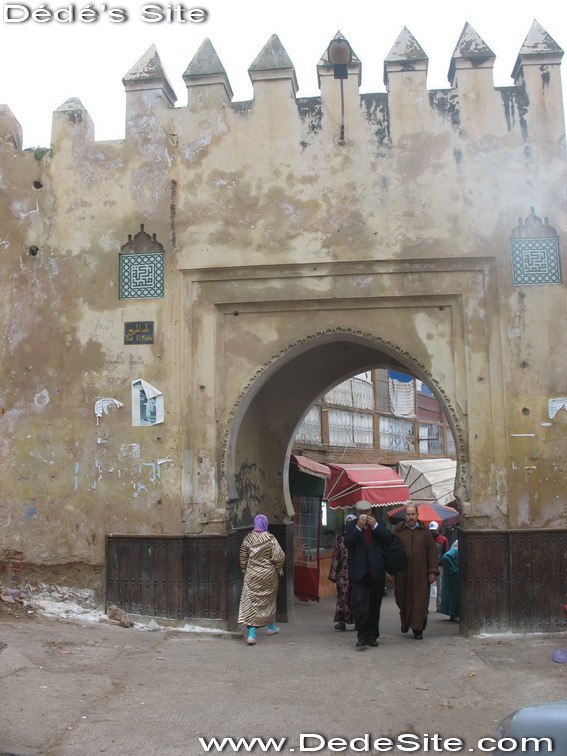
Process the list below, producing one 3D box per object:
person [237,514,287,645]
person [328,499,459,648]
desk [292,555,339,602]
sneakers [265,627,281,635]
[{"bbox_3d":[-0.193,1.692,8.484,0.433,1.026,0.283,2,-1,-40],"label":"person"},{"bbox_3d":[0.785,1.681,8.948,0.857,1.241,1.466,1,-1,-18],"label":"person"},{"bbox_3d":[0.473,2.624,12.994,0.695,0.517,0.750,-3,-8,-19],"label":"desk"},{"bbox_3d":[-0.076,2.261,8.990,0.054,0.078,0.159,1,-1,21],"label":"sneakers"}]
